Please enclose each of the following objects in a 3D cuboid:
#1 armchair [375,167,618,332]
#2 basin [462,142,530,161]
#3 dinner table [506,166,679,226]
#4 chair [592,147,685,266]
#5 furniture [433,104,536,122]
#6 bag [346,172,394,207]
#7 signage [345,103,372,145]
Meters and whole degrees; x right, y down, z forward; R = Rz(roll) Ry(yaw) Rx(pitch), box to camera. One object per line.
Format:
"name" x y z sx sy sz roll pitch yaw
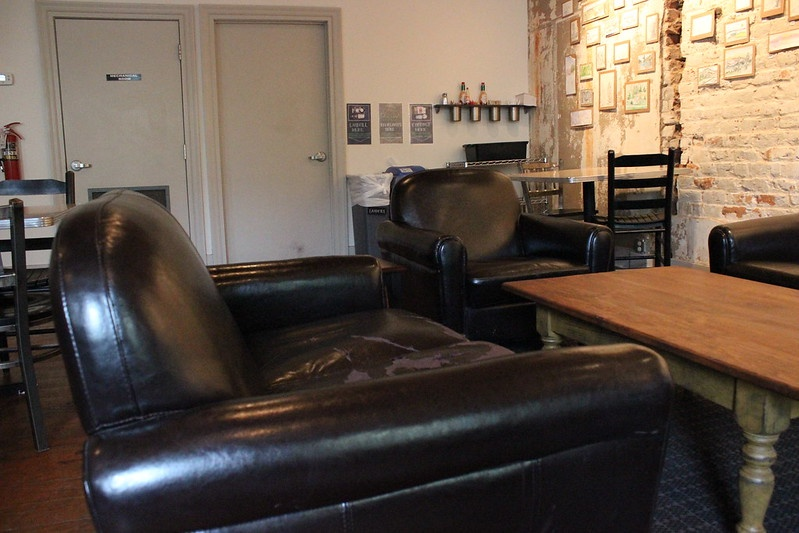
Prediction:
"armchair" 0.498 -0.117 3.444 1.186 0.941 1.053 -3 5 -24
"basin" 0.992 -1.126 5.814 0.657 0.188 0.289 -4 14 -4
"dinner table" 1.715 -0.543 4.681 1.014 0.450 1.046 5 5 42
"chair" 1.863 -0.486 4.460 0.702 0.905 0.672 -7 21 -2
"furniture" 0.902 -1.561 5.971 1.139 0.216 0.312 -10 15 -27
"bag" -0.400 -0.673 5.407 0.513 0.360 0.372 -6 10 -36
"signage" -0.388 -1.363 5.670 0.288 0.380 0.020 7 17 26
